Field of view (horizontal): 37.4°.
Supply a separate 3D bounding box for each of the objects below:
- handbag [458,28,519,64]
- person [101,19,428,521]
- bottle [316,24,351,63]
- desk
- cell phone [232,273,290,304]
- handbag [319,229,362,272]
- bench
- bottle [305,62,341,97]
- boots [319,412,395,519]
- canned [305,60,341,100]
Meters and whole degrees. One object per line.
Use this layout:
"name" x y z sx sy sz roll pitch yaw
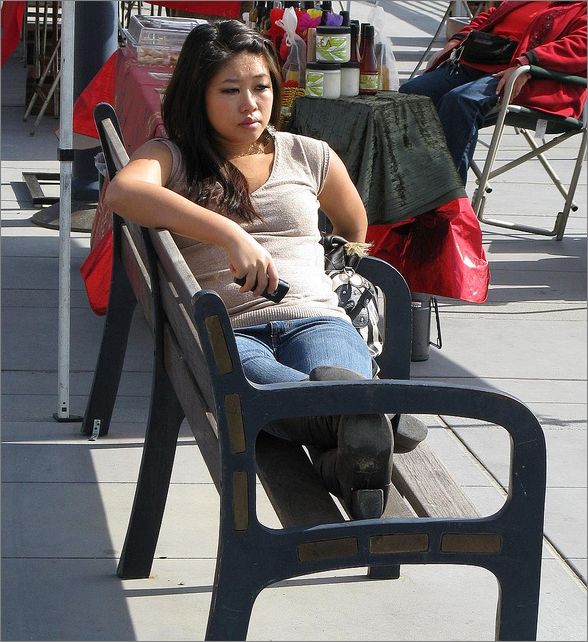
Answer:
"handbag" 1.066 -1.541 4.848 0.269 0.198 0.114 10 -11 22
"person" -0.034 -0.169 1.848 0.666 0.820 1.269 -6 21 -13
"bottle" 0.143 -1.054 3.277 0.147 0.141 0.142 12 22 26
"desk" 0.178 -0.723 4.022 1.237 0.558 1.827 3 28 -17
"cell phone" -0.067 -0.056 1.725 0.096 0.051 0.022 24 48 11
"handbag" 0.105 -0.180 2.260 0.113 0.116 0.094 -7 30 -14
"bench" 0.019 0.114 2.141 0.670 0.777 1.645 -4 16 -14
"bottle" 0.114 -0.930 3.316 0.140 0.115 0.134 6 19 10
"boots" 0.139 0.244 1.558 0.129 0.162 0.417 -1 -6 6
"canned" 0.108 -0.924 3.299 0.142 0.116 0.136 6 20 10
